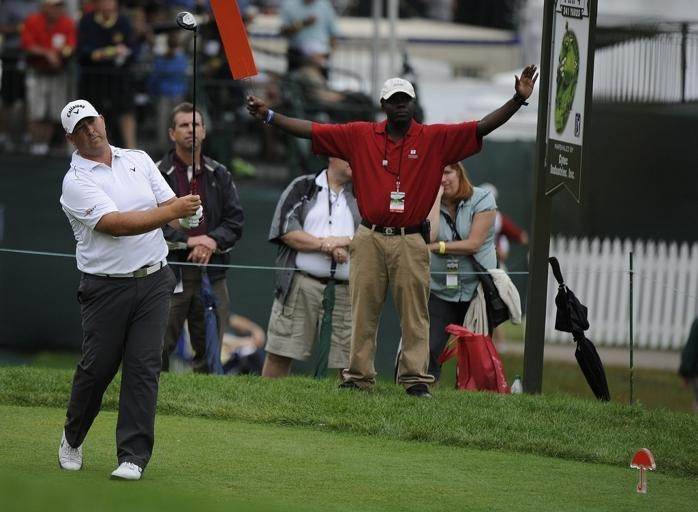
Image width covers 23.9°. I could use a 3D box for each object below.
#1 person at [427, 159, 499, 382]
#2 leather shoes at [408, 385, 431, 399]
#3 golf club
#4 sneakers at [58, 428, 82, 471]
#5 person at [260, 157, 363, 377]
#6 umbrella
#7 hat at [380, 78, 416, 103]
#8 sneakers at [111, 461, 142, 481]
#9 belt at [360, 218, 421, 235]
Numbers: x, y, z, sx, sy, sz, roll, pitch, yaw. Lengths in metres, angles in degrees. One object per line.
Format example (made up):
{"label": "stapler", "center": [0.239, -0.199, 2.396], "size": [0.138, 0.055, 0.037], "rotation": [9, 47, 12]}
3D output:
{"label": "person", "center": [1.312, 0.163, 18.896], "size": [0.838, 2.521, 0.807], "rotation": [1, 0, 2]}
{"label": "leather shoes", "center": [0.770, 1.494, 17.972], "size": [0.223, 0.105, 0.122], "rotation": [-4, -3, 17]}
{"label": "golf club", "center": [-1.621, -1.601, 16.854], "size": [0.294, 1.814, 0.248], "rotation": [6, -18, -29]}
{"label": "sneakers", "center": [-2.783, 1.950, 16.412], "size": [0.240, 0.346, 0.242], "rotation": [0, 13, -12]}
{"label": "person", "center": [-0.403, 0.130, 18.730], "size": [0.829, 2.822, 0.829], "rotation": [0, 11, -11]}
{"label": "umbrella", "center": [2.588, 0.842, 18.502], "size": [0.430, 1.726, 0.480], "rotation": [-17, 7, 33]}
{"label": "hat", "center": [0.527, -1.783, 17.770], "size": [0.348, 0.246, 0.271], "rotation": [2, 13, -2]}
{"label": "sneakers", "center": [-2.198, 2.126, 16.227], "size": [0.266, 0.159, 0.110], "rotation": [9, 24, 20]}
{"label": "belt", "center": [0.472, -0.295, 17.779], "size": [0.688, 0.163, 0.133], "rotation": [5, 13, 6]}
